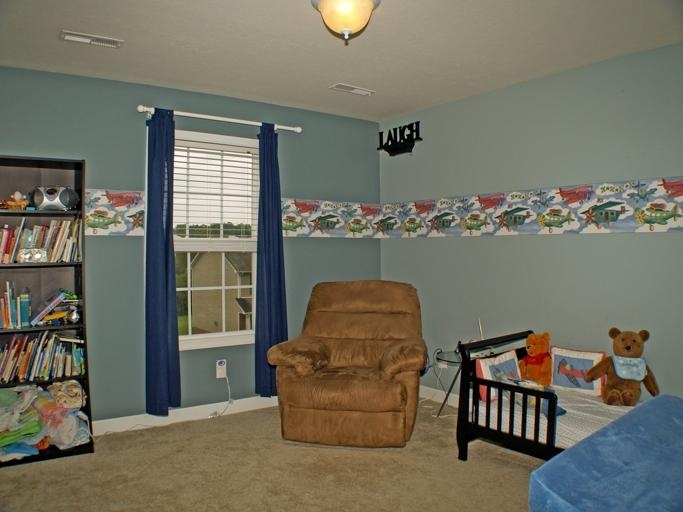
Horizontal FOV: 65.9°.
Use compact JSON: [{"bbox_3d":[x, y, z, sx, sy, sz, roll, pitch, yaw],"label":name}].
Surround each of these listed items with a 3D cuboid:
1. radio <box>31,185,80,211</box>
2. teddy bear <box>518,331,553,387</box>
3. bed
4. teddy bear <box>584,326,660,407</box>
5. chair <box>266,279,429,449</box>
[{"bbox_3d":[-2.234,-0.451,4.161,0.334,0.184,0.130,-5,11,-26],"label":"radio"},{"bbox_3d":[1.573,0.848,4.315,0.294,0.445,0.314,-6,4,-43],"label":"teddy bear"},{"bbox_3d":[1.461,1.096,3.984,0.933,0.727,0.959,3,5,40],"label":"bed"},{"bbox_3d":[2.067,0.832,3.878,0.529,0.587,0.327,0,-8,38],"label":"teddy bear"},{"bbox_3d":[0.103,0.918,4.558,1.229,1.062,1.053,2,10,9],"label":"chair"}]
